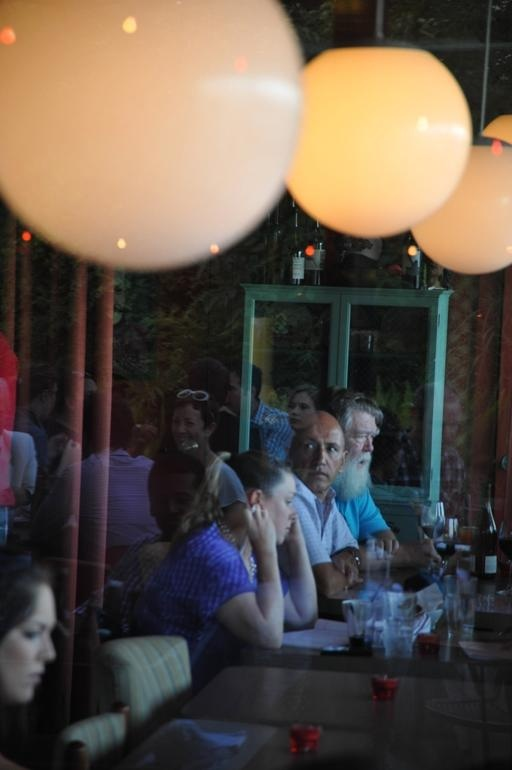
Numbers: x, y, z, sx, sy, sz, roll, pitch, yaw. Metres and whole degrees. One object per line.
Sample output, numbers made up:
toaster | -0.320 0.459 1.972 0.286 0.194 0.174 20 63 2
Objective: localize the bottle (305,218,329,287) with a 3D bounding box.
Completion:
bottle | 0.259 -0.573 3.130 0.078 0.266 0.066 2 10 -13
